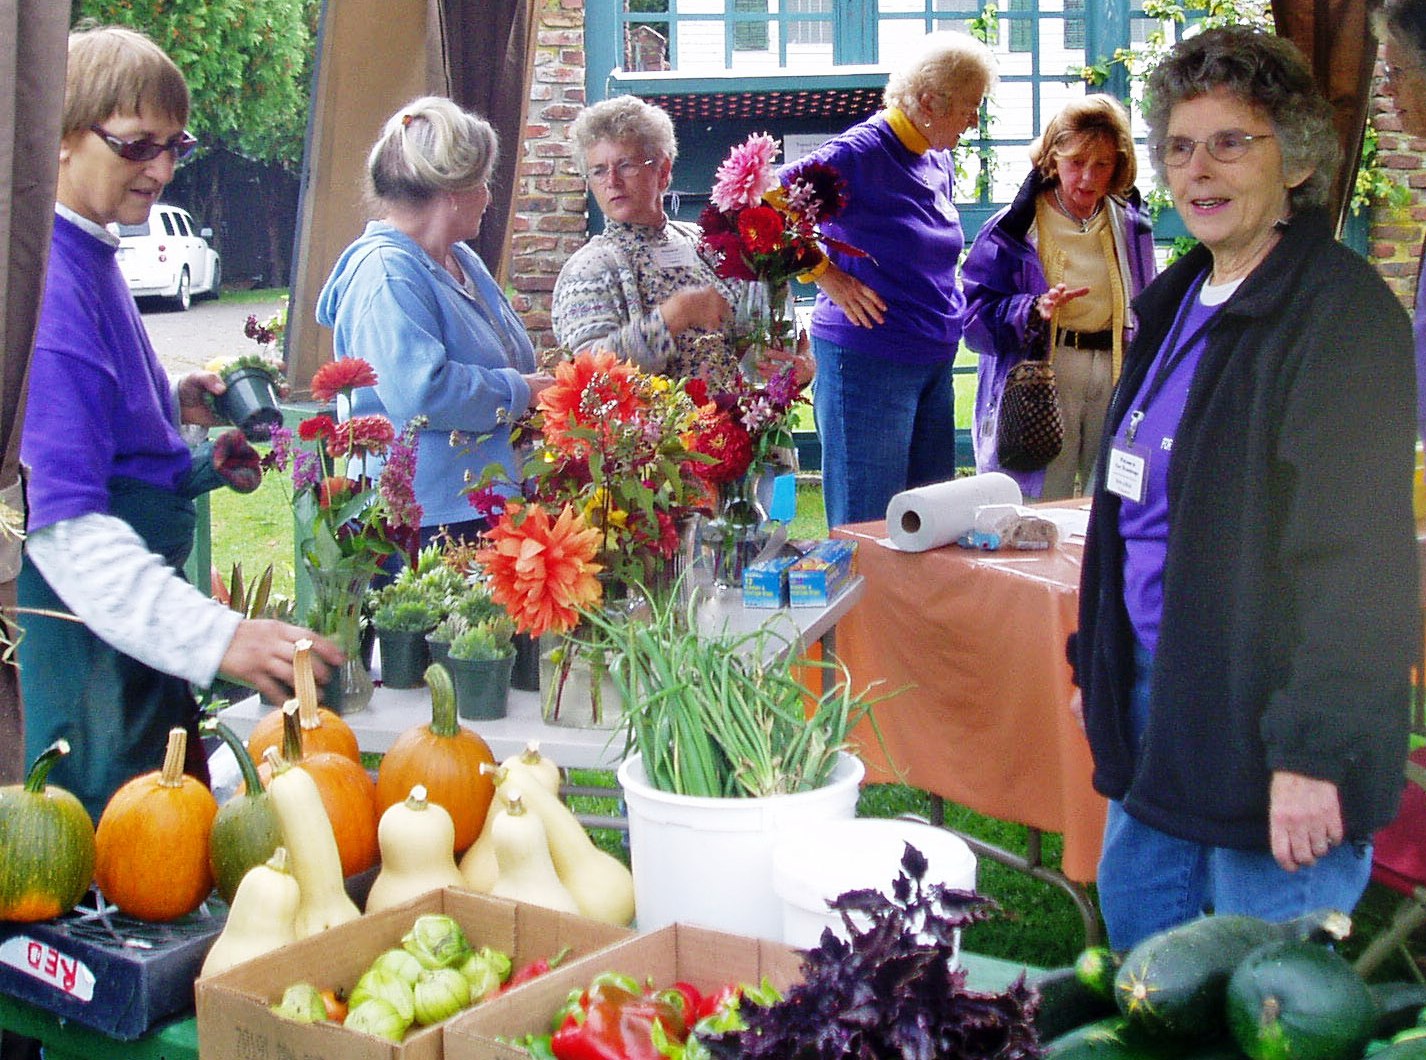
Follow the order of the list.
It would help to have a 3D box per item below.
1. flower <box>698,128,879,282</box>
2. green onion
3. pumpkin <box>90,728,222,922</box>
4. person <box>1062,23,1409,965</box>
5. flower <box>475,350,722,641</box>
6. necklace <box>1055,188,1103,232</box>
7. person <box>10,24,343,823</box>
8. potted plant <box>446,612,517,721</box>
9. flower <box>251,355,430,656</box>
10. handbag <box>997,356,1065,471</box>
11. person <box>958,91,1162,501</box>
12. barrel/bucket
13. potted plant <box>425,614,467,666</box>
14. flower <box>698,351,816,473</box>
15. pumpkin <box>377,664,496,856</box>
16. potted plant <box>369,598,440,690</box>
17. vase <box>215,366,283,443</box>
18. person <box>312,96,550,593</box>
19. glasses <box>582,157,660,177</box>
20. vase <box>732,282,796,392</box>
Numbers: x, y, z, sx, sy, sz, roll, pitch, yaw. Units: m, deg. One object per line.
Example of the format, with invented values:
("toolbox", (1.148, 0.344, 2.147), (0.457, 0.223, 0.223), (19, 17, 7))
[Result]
("flower", (0.176, -0.831, 3.773), (0.379, 0.412, 0.297), (8, 14, 31))
("green onion", (0.059, 0.191, 2.255), (0.325, 0.237, 0.331), (4, 4, 44))
("pumpkin", (-0.868, 0.448, 2.329), (0.211, 0.286, 0.200), (9, 13, 38))
("person", (1.013, 0.005, 2.756), (0.544, 1.834, 0.611), (9, 14, 33))
("flower", (-0.211, -0.058, 2.821), (0.352, 0.569, 0.658), (3, 6, 19))
("necklace", (1.320, -1.151, 5.221), (0.113, 0.104, 0.162), (2, -34, 9))
("person", (-1.054, -0.054, 2.936), (0.593, 1.780, 0.650), (0, 17, -12))
("potted plant", (-0.471, 0.273, 2.926), (0.171, 0.244, 0.168), (0, 0, -1))
("flower", (-0.770, -0.031, 3.059), (0.247, 0.623, 0.267), (9, 11, 13))
("handbag", (1.130, -0.408, 5.197), (0.175, 0.398, 0.274), (-1, 9, -5))
("person", (1.353, -0.660, 5.433), (0.702, 1.931, 0.594), (-12, 26, -11))
("barrel/bucket", (0.033, 0.430, 2.095), (0.234, 0.209, 0.253), (0, -2, 0))
("potted plant", (-0.560, 0.229, 3.026), (0.081, 0.101, 0.089), (1, 2, -8))
("flower", (0.236, -0.503, 3.922), (0.265, 0.317, 0.493), (10, -36, -1))
("pumpkin", (-0.471, 0.392, 2.469), (0.189, 0.316, 0.203), (11, 9, 38))
("potted plant", (-0.675, 0.241, 3.120), (0.157, 0.190, 0.171), (1, 3, -1))
("vase", (-1.102, -0.297, 3.397), (0.116, 0.123, 0.104), (-32, 50, -9))
("person", (-0.733, -0.571, 4.004), (0.468, 1.701, 0.706), (1, 5, 15))
("glasses", (-0.272, -1.060, 4.233), (0.204, 0.053, 0.079), (1, 6, 2))
("vase", (0.133, -0.540, 3.927), (0.163, 0.319, 0.170), (-23, 39, -35))
